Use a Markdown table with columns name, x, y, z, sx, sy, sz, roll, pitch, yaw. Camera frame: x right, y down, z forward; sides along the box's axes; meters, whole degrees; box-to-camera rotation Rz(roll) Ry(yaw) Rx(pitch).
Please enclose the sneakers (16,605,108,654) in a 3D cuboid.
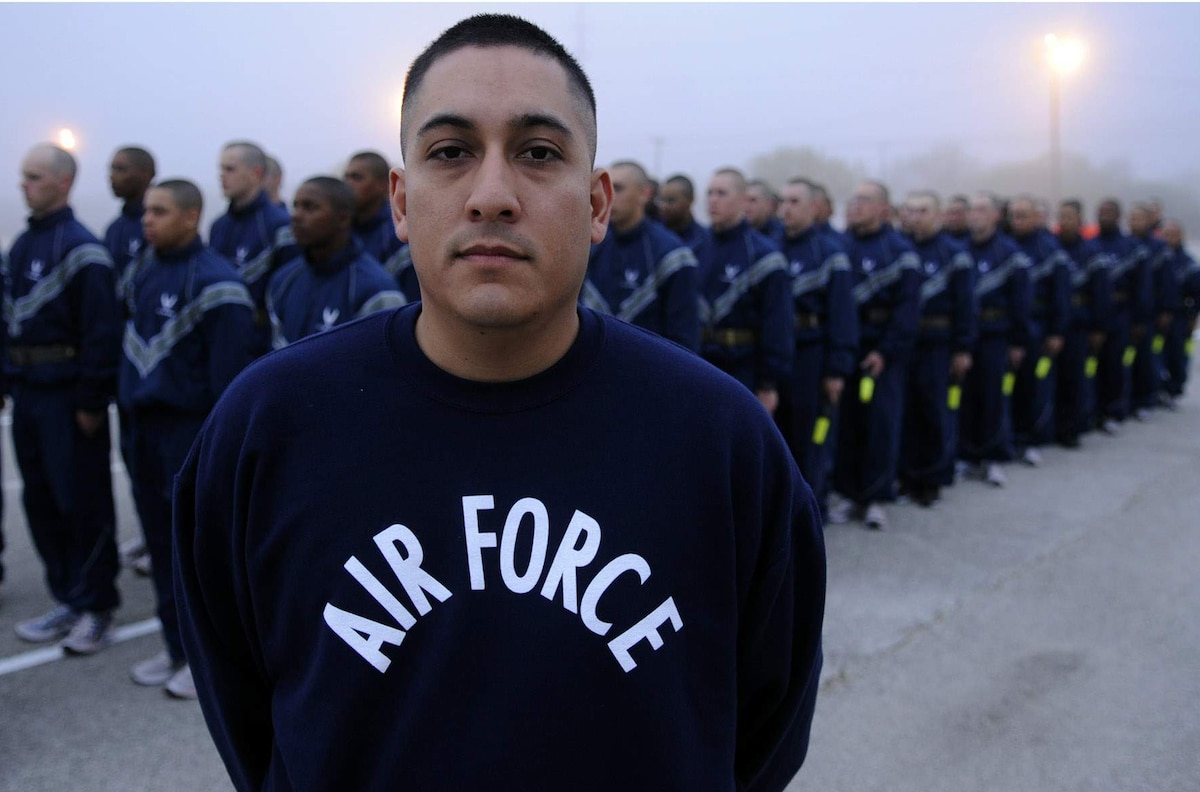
| name | x | y | z | sx | sy | sz | roll | pitch | yaw |
| --- | --- | --- | --- | --- | --- | --- | --- | --- | --- |
| sneakers | -2.844 | 1.230 | 6.895 | 0.500 | 0.245 | 0.215 | 10 | 8 | -8 |
